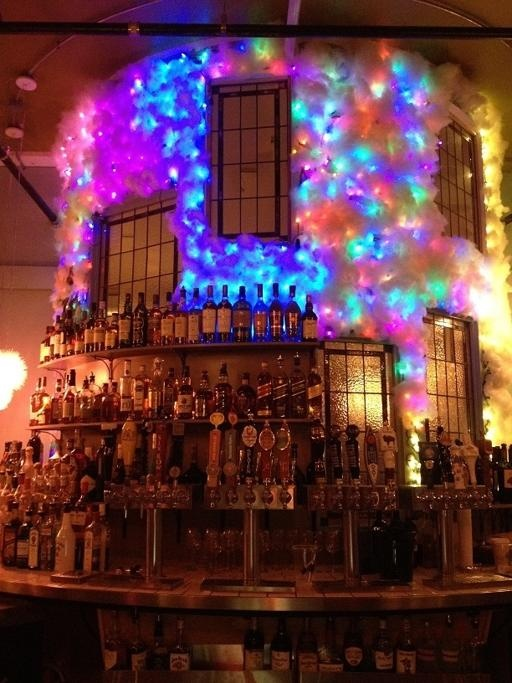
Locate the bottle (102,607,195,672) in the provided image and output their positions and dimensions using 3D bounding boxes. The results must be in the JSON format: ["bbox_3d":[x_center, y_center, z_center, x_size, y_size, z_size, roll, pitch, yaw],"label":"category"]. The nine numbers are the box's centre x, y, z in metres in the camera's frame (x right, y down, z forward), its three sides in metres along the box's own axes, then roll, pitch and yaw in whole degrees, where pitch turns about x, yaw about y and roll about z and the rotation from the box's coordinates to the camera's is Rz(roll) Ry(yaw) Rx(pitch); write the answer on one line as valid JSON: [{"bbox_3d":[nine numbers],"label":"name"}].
[{"bbox_3d":[-0.524,1.368,3.321,0.411,0.336,0.285,-1,2,-13],"label":"bottle"}]
